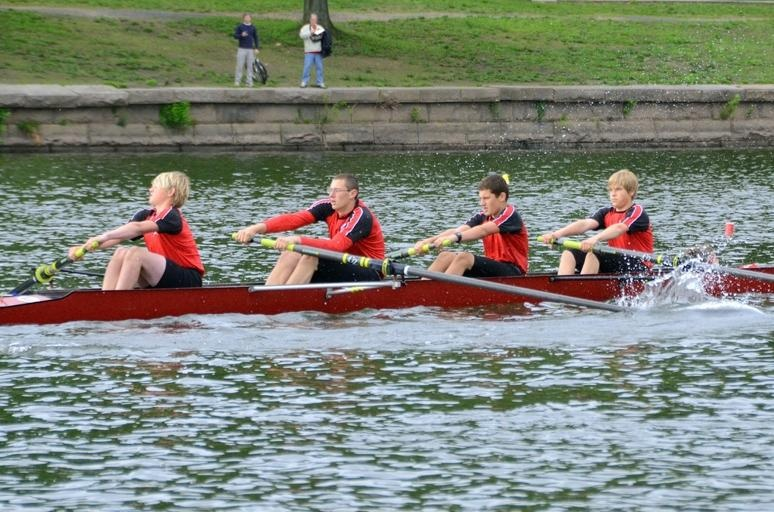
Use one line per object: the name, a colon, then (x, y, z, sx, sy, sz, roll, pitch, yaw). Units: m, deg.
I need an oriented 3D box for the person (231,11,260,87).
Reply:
person: (-3.097, -4.519, 30.049, 0.460, 1.529, 0.506, 0, 11, -4)

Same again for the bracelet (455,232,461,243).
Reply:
bracelet: (0.953, -0.235, 18.345, 0.100, 0.116, 0.109, 3, 44, 4)

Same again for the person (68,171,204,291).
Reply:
person: (-3.022, -0.320, 17.651, 1.376, 1.495, 0.661, -3, 11, -22)
